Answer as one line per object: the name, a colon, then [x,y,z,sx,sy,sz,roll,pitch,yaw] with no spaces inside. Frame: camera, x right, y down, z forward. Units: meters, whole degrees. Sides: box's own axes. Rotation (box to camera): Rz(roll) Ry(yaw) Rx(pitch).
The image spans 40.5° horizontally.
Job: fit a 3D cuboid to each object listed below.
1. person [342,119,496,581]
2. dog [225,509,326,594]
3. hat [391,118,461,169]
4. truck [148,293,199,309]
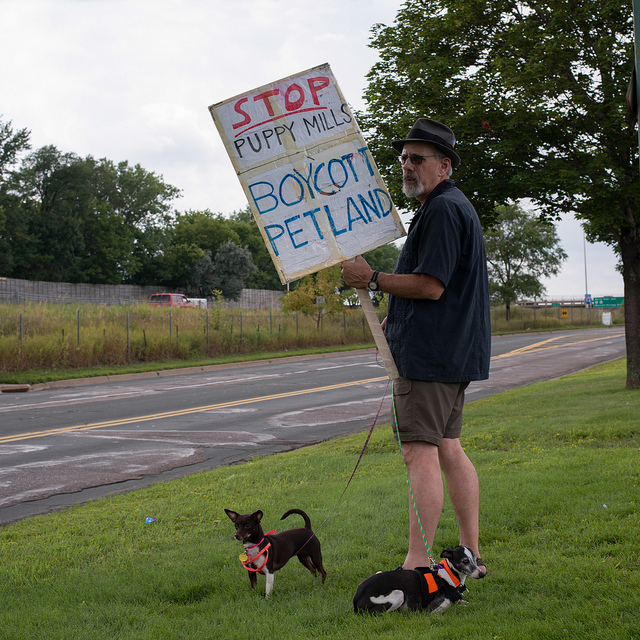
person: [0.638,0.120,5.005,0.773,2.600,0.510,-5,0,-5]
dog: [-0.240,1.404,5.213,0.679,0.525,0.250,4,-9,-44]
hat: [0.652,-1.111,5.116,0.341,0.151,0.314,19,14,21]
truck: [-8.044,-0.966,46.679,1.311,1.234,2.297,0,3,24]
